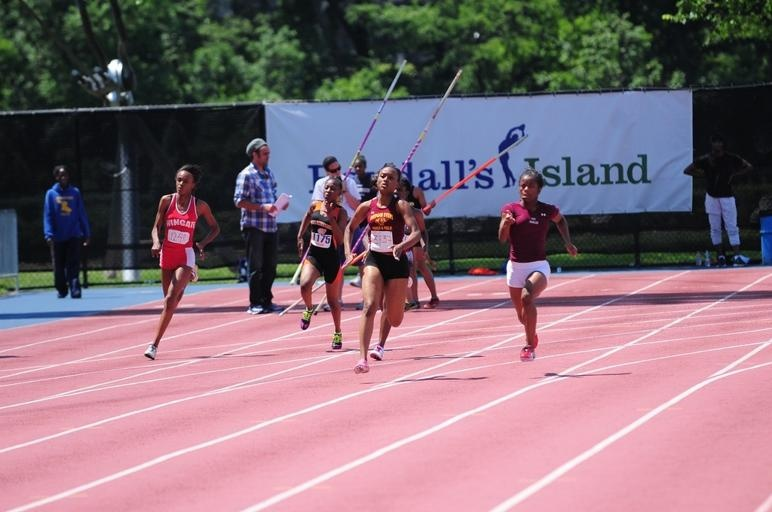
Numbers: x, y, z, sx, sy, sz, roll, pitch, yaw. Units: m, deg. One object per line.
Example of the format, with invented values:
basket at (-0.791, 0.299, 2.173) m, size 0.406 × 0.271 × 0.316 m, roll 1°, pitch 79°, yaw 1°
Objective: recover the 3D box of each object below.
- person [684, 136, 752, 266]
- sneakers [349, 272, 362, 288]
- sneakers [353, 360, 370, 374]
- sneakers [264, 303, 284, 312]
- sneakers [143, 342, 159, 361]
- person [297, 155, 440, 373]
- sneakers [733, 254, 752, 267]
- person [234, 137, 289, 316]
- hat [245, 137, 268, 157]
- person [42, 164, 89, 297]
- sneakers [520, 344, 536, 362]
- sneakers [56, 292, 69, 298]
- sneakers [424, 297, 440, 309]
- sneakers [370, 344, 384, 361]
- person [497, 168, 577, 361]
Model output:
person at (7.321, -1.133, 21.115) m, size 1.336 × 2.784 × 0.759 m, roll -3°, pitch 2°, yaw -13°
sneakers at (-0.572, 0.490, 19.279) m, size 0.201 × 0.249 × 0.604 m, roll 5°, pitch 6°, yaw -8°
sneakers at (-0.305, 1.428, 12.387) m, size 0.178 × 0.226 × 0.436 m, roll -3°, pitch 2°, yaw -3°
sneakers at (-2.045, 0.950, 17.615) m, size 0.326 × 0.147 × 0.120 m, roll -1°, pitch 4°, yaw -4°
sneakers at (-3.327, 1.360, 13.718) m, size 0.181 × 0.152 × 0.425 m, roll -48°, pitch 9°, yaw -10°
person at (0.006, 0.159, 12.631) m, size 0.923 × 2.689 × 0.986 m, roll -3°, pitch 2°, yaw -2°
sneakers at (7.930, 0.110, 21.424) m, size 0.165 × 0.202 × 0.503 m, roll 1°, pitch 10°, yaw 33°
person at (-2.268, -0.495, 17.215) m, size 0.720 × 3.119 × 1.379 m, roll -3°, pitch 2°, yaw -8°
hat at (-2.309, -1.930, 17.203) m, size 0.283 × 0.301 × 0.480 m, roll -3°, pitch 2°, yaw -14°
person at (-6.674, -0.473, 20.212) m, size 0.863 × 2.782 × 0.525 m, roll -3°, pitch 2°, yaw -21°
sneakers at (1.901, 1.298, 12.790) m, size 0.202 × 0.269 × 0.593 m, roll -1°, pitch -4°, yaw 6°
sneakers at (-6.880, 0.830, 20.542) m, size 0.226 × 0.114 × 0.330 m, roll -8°, pitch -4°, yaw -27°
sneakers at (0.859, 0.856, 17.522) m, size 0.152 × 0.118 × 0.272 m, roll 0°, pitch 4°, yaw -24°
sneakers at (-0.104, 1.247, 12.464) m, size 0.099 × 0.122 × 0.277 m, roll 11°, pitch 4°, yaw 8°
person at (1.987, 0.131, 12.745) m, size 0.839 × 2.524 × 0.854 m, roll -2°, pitch 2°, yaw 17°
